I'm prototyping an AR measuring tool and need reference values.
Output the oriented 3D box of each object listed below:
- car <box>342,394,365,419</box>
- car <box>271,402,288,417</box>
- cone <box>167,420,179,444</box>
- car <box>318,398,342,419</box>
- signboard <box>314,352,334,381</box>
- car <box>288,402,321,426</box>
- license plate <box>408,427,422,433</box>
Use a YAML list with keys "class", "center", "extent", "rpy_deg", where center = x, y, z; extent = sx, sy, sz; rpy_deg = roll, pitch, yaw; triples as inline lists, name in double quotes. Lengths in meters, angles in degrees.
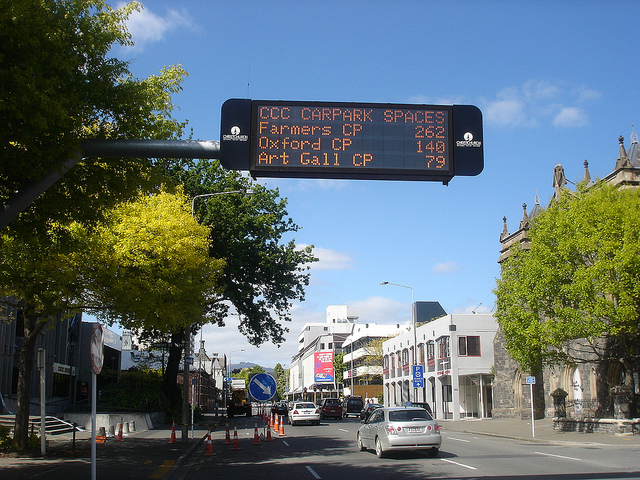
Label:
- class: "car"
  center: [3.000, 15.260, 70.150]
  extent: [1.366, 1.558, 2.571]
  rpy_deg: [2, -13, -1]
- class: "car"
  center: [-3.611, 15.367, 68.938]
  extent: [1.075, 1.028, 1.973]
  rpy_deg: [2, -5, -2]
- class: "cone"
  center: [-6.322, 8.367, 32.700]
  extent: [0.579, 1.199, 0.631]
  rpy_deg: [-4, -15, 9]
- class: "car"
  center: [0.805, 13.768, 62.420]
  extent: [1.532, 1.737, 2.401]
  rpy_deg: [6, -19, -23]
- class: "signboard"
  center: [0.539, 18.814, 116.520]
  extent: [3.326, 5.007, 2.741]
  rpy_deg: [-2, 16, -10]
- class: "car"
  center: [-1.058, 11.124, 48.938]
  extent: [1.396, 1.557, 2.339]
  rpy_deg: [11, -21, -34]
- class: "license plate"
  center: [3.362, 6.724, 26.988]
  extent: [0.500, 0.175, 0.075]
  rpy_deg: [-1, -16, 0]
